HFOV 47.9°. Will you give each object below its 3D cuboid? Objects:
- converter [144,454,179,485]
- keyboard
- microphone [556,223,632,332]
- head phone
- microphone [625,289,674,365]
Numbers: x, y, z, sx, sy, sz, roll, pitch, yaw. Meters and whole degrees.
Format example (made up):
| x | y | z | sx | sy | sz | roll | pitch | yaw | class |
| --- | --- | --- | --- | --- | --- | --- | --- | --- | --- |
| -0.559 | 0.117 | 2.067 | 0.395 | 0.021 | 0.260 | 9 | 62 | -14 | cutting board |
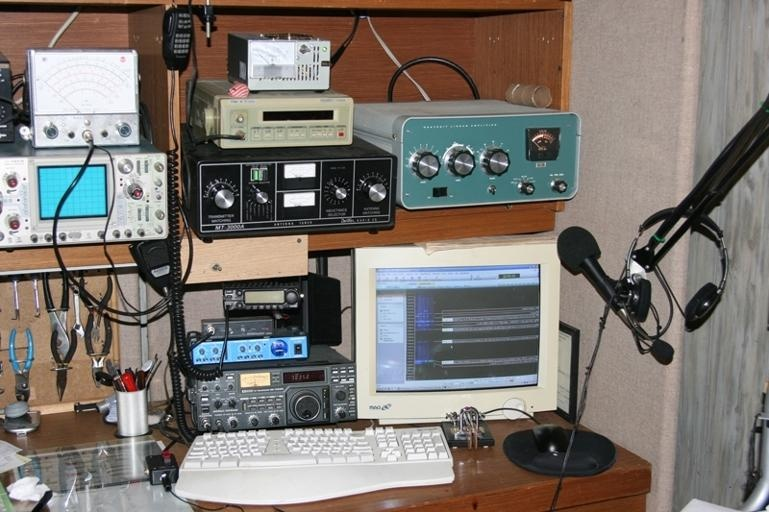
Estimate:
| x | y | z | sx | sy | sz | roll | pitch | yaw | class |
| --- | --- | --- | --- | --- | --- | --- | --- | --- | --- |
| -0.684 | 0.667 | 2.682 | 0.095 | 0.072 | 0.157 | -3 | 14 | -27 | converter |
| -0.211 | 0.643 | 2.695 | 0.838 | 0.150 | 0.266 | -4 | 9 | -5 | keyboard |
| 0.642 | 0.036 | 2.649 | 0.100 | 0.247 | 0.257 | -8 | 10 | -27 | microphone |
| 0.916 | 0.056 | 2.587 | 0.302 | 0.379 | 0.113 | 31 | 29 | 29 | head phone |
| 0.789 | 0.232 | 2.642 | 0.126 | 0.274 | 0.158 | 3 | 18 | 6 | microphone |
